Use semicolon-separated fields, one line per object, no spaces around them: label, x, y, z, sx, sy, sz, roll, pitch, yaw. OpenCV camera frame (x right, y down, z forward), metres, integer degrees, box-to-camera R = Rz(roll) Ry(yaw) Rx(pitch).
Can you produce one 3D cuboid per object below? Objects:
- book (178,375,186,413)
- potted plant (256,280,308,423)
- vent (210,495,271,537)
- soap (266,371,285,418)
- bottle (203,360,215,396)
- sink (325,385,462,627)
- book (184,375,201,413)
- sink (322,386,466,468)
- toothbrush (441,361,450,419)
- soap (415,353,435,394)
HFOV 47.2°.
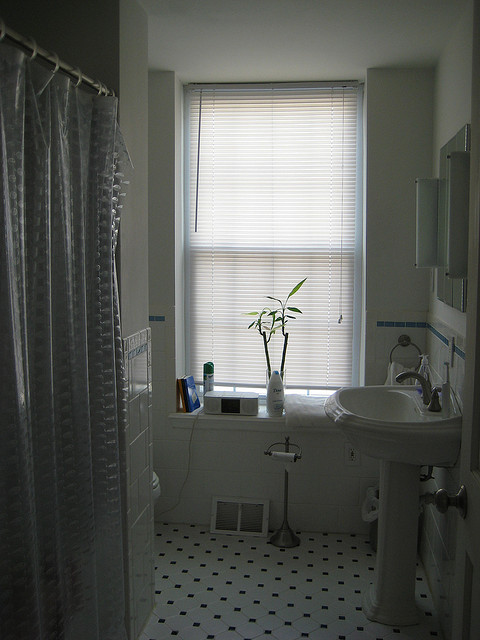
book;-0.319;0.404;2.989;0.015;0.223;0.141;-9;9;-2
potted plant;0.222;0.151;2.945;0.286;0.703;0.323;0;6;4
vent;-0.005;1.023;2.871;0.301;0.162;0.108;0;7;11
soap;0.189;0.386;2.891;0.102;0.238;0.062;-2;6;-15
bottle;-0.178;0.327;3.105;0.067;0.184;0.139;-1;7;-5
sink;0.553;0.730;2.074;0.469;0.935;0.671;0;7;10
book;-0.271;0.408;3.029;0.022;0.181;0.138;-10;4;12
sink;0.545;0.363;2.004;0.461;0.202;0.619;0;9;6
toothbrush;0.708;0.242;1.895;0.026;0.200;0.027;15;-16;-36
soap;0.708;0.199;2.147;0.059;0.213;0.065;-5;-6;0
